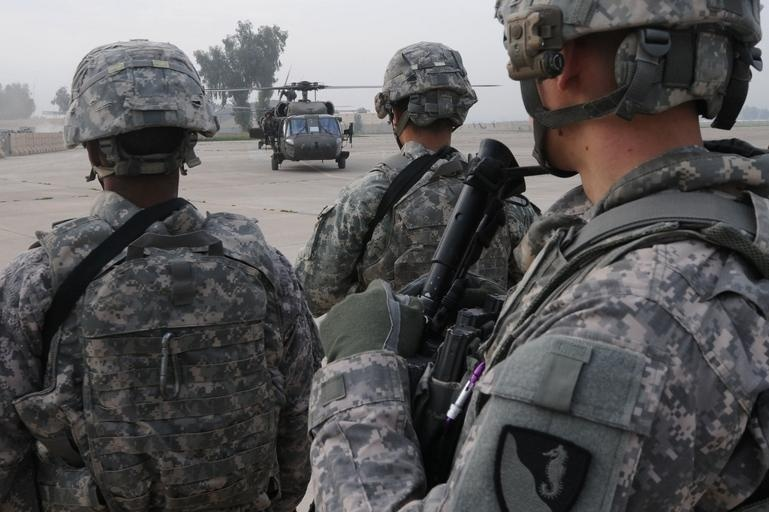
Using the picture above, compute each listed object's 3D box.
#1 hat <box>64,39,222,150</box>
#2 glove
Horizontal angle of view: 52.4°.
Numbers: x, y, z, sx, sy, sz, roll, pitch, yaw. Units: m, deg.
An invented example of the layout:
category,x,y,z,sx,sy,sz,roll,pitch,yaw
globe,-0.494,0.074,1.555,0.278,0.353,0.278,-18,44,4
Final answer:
category,x,y,z,sx,sy,sz,roll,pitch,yaw
hat,-1.002,-0.690,3.280,0.649,0.445,0.645,-8,8,-40
glove,-0.027,0.201,2.331,0.313,0.191,0.309,-5,-30,-1
